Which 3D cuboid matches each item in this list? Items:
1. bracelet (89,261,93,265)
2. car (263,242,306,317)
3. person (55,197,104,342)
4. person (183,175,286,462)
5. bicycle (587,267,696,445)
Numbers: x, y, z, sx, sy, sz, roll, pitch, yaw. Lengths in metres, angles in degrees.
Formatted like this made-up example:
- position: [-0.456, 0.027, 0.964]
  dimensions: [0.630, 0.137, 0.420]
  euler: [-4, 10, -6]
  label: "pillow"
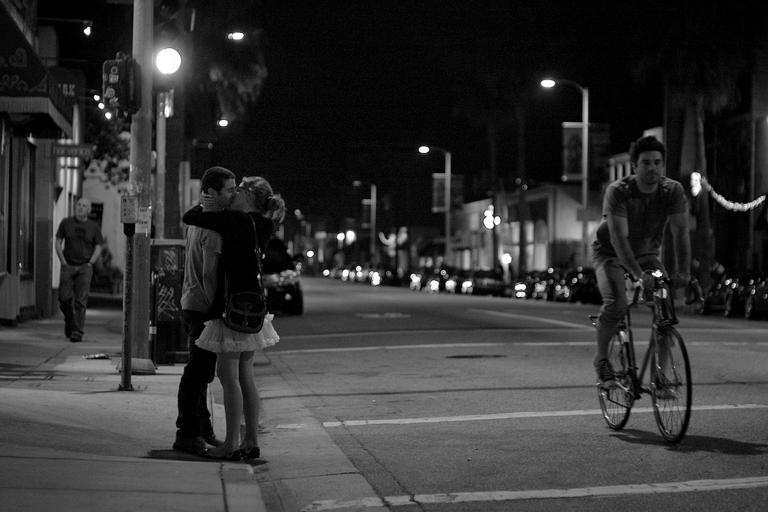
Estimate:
- position: [-5.687, 0.142, 16.617]
  dimensions: [0.068, 0.072, 0.119]
  euler: [1, -1, -19]
  label: "bracelet"
- position: [-3.103, 0.717, 26.115]
  dimensions: [1.347, 1.339, 2.516]
  euler: [0, -4, -4]
  label: "car"
- position: [-5.979, 0.264, 16.785]
  dimensions: [0.823, 2.821, 0.863]
  euler: [1, -1, -22]
  label: "person"
- position: [-1.466, 0.613, 8.621]
  dimensions: [0.936, 2.841, 0.626]
  euler: [1, -1, -24]
  label: "person"
- position: [2.894, 1.050, 9.292]
  dimensions: [0.497, 1.821, 1.516]
  euler: [1, -1, -11]
  label: "bicycle"
